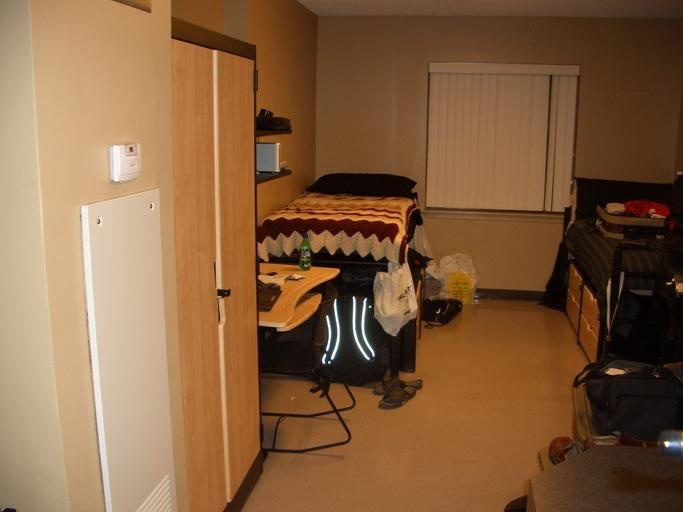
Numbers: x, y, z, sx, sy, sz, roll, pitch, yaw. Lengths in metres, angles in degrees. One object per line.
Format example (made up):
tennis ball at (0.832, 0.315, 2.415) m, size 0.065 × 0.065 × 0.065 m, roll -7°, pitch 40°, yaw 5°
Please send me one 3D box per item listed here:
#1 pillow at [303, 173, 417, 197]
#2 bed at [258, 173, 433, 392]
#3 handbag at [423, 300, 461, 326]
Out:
pillow at (0.264, -0.771, 5.851) m, size 0.733 × 0.175 × 0.501 m, roll 5°, pitch 16°, yaw 8°
bed at (0.050, 0.127, 4.538) m, size 1.475 × 0.968 × 1.767 m, roll 2°, pitch 19°, yaw 7°
handbag at (1.044, 0.572, 5.575) m, size 0.262 × 0.114 × 0.290 m, roll 1°, pitch 18°, yaw -4°
